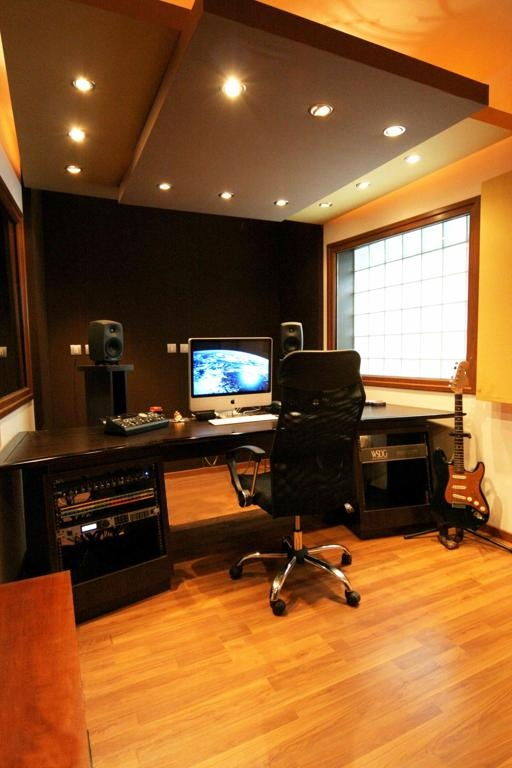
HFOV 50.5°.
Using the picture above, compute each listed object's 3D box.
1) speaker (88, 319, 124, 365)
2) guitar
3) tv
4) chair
[{"bbox_3d":[-0.840,-0.234,3.053,0.177,0.246,0.169,-4,7,-20],"label":"speaker"},{"bbox_3d":[1.046,0.341,2.815,0.281,0.939,0.081,-1,23,17],"label":"guitar"},{"bbox_3d":[-0.166,-0.051,3.107,0.478,0.458,0.189,-3,10,-24],"label":"tv"},{"bbox_3d":[0.162,0.387,2.435,0.607,1.098,0.626,-1,6,4],"label":"chair"}]
